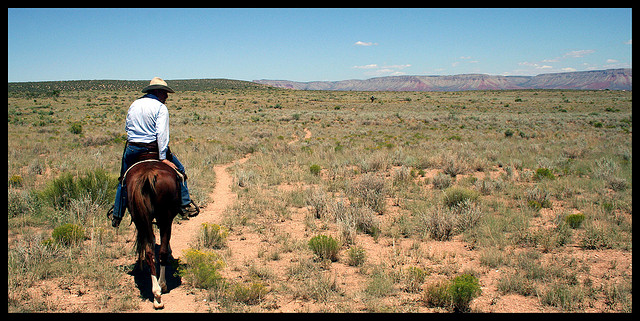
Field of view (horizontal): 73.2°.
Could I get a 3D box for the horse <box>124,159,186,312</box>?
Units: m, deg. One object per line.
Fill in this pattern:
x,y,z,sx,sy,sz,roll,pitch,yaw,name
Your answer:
-6.552,2.808,17.372,1.767,5.664,2.048,-9,11,-35,horse
